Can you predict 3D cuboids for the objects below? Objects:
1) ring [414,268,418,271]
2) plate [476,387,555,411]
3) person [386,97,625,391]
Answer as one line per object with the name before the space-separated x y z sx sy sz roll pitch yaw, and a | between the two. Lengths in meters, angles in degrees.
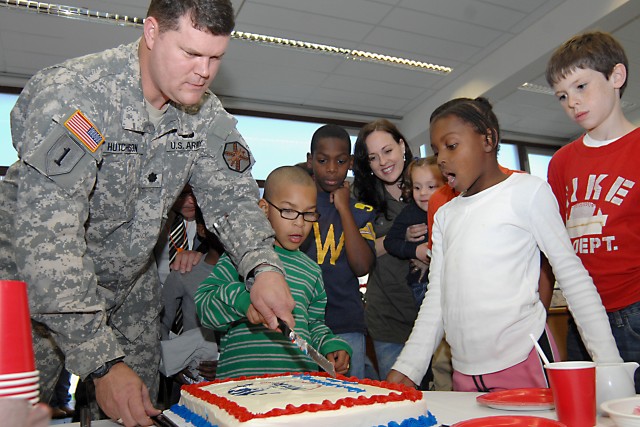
ring | 0.553 0.331 2.754 0.018 0.013 0.004 9 8 40
plate | 0.631 0.608 1.532 0.251 0.054 0.173 -2 -14 -6
person | 0.669 0.109 1.984 0.806 1.215 0.251 -7 -15 14
